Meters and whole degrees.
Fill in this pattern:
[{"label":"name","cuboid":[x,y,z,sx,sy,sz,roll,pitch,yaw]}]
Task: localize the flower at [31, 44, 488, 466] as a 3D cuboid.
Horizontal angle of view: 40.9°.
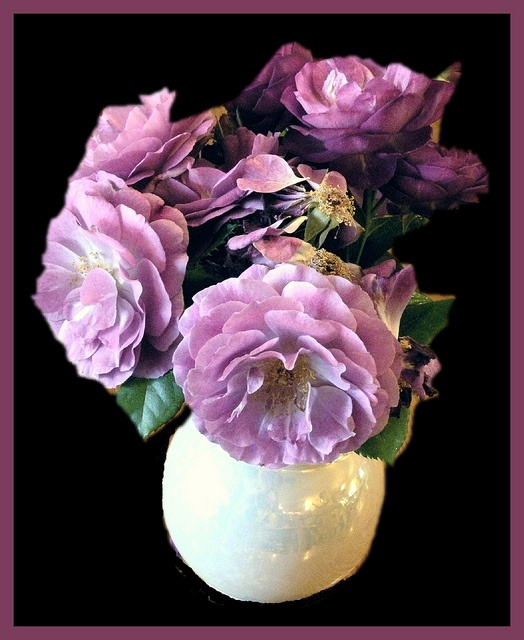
[{"label":"flower","cuboid":[-0.057,-0.102,0.973,0.600,0.527,0.332,-1,6,-28]}]
